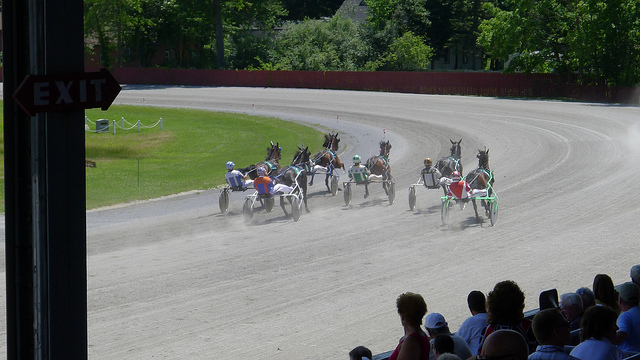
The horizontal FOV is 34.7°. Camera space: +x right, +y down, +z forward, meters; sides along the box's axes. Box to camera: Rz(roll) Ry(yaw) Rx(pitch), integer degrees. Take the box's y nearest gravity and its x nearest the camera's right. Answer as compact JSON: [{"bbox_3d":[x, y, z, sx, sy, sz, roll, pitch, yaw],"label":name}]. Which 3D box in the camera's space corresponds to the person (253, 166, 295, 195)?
[{"bbox_3d":[-2.198,-0.028,45.760,1.579,1.242,0.839,-6,11,-32],"label":"person"}]

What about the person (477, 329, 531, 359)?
[{"bbox_3d":[6.049,5.417,33.914,1.573,0.923,0.424,0,10,2],"label":"person"}]

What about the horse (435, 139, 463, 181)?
[{"bbox_3d":[5.892,-1.011,47.711,1.133,1.554,2.466,1,9,13],"label":"horse"}]

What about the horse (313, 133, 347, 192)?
[{"bbox_3d":[1.183,-0.851,50.282,1.349,2.922,2.966,1,0,-21],"label":"horse"}]

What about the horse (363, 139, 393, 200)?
[{"bbox_3d":[2.187,-0.734,48.639,1.069,2.164,3.307,5,18,18],"label":"horse"}]

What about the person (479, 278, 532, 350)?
[{"bbox_3d":[6.070,4.515,34.848,1.395,2.245,0.964,1,0,-12],"label":"person"}]

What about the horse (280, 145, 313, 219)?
[{"bbox_3d":[-1.380,0.040,47.264,1.558,3.069,1.753,0,0,0],"label":"horse"}]

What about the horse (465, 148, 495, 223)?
[{"bbox_3d":[7.104,0.299,46.276,1.118,2.968,2.444,0,10,7],"label":"horse"}]
